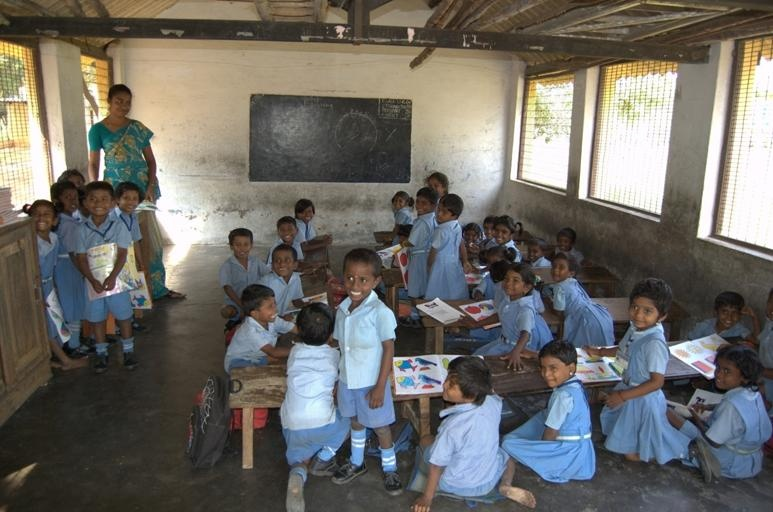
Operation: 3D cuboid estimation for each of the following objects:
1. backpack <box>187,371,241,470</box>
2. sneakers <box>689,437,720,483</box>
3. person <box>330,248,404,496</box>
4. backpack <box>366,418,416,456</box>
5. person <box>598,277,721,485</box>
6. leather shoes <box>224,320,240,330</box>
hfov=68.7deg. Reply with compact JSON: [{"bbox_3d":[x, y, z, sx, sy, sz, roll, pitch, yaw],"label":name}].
[{"bbox_3d":[-1.290,1.213,4.166,0.233,0.586,0.475,10,-8,-16],"label":"backpack"},{"bbox_3d":[2.293,1.457,4.061,0.144,0.301,0.144,-25,-28,6],"label":"sneakers"},{"bbox_3d":[-0.150,0.797,3.864,0.481,1.676,0.359,-1,14,-3],"label":"person"},{"bbox_3d":[0.028,1.340,4.154,0.267,0.144,0.345,-1,32,1],"label":"backpack"},{"bbox_3d":[1.937,0.862,4.277,0.809,1.367,0.631,8,14,38],"label":"person"},{"bbox_3d":[-1.451,0.646,5.328,0.141,0.051,0.137,0,-13,-2],"label":"leather shoes"}]
